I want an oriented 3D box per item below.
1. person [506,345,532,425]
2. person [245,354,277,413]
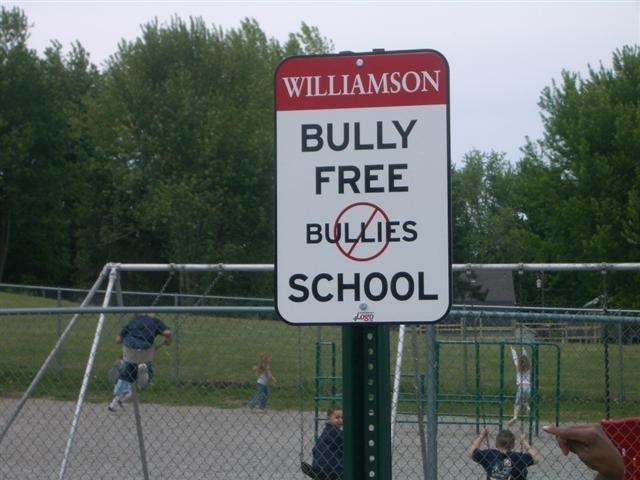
[{"bbox_3d":[6.779,4.936,43.295,0.780,2.580,0.734,3,-1,-23],"label":"person"},{"bbox_3d":[-2.008,4.983,44.090,0.805,1.896,0.681,-2,5,-45],"label":"person"}]
